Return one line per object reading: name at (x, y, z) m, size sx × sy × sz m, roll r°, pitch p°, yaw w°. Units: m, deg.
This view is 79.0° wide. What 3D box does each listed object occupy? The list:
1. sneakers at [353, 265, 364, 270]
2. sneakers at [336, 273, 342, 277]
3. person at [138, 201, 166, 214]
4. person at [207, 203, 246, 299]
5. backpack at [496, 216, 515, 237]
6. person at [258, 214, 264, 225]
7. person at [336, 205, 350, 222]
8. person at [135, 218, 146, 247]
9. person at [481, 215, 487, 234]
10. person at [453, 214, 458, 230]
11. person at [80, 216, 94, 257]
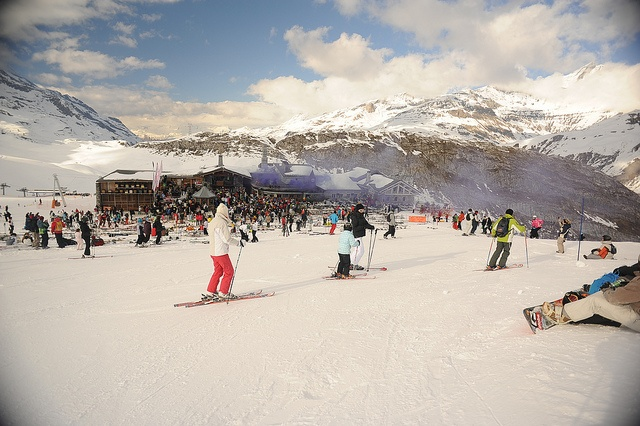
sneakers at (1.622, 2.272, 16.206) m, size 0.427 × 0.183 × 0.144 m, roll -2°, pitch 4°, yaw -10°
sneakers at (0.735, 2.390, 14.970) m, size 0.161 × 0.073 × 0.124 m, roll 16°, pitch 2°, yaw -19°
person at (-20.800, -0.626, 48.317) m, size 3.815 × 1.520 × 1.168 m, roll 0°, pitch -5°, yaw 8°
person at (-3.054, 1.182, 12.139) m, size 1.045 × 2.977 × 0.504 m, roll 0°, pitch 1°, yaw 17°
backpack at (7.170, 0.572, 15.261) m, size 0.293 × 0.791 × 0.496 m, roll -1°, pitch 1°, yaw -42°
person at (-5.983, 0.685, 39.417) m, size 0.573 × 0.947 × 1.664 m, roll 0°, pitch 1°, yaw -7°
person at (2.386, 0.058, 41.576) m, size 0.770 × 0.891 × 2.227 m, roll 0°, pitch 7°, yaw 21°
person at (-11.578, 1.289, 25.114) m, size 0.475 × 1.574 × 0.820 m, roll 0°, pitch 1°, yaw -24°
person at (13.659, 1.015, 32.294) m, size 0.356 × 1.364 × 1.027 m, roll 1°, pitch 1°, yaw 24°
person at (12.824, 0.878, 36.804) m, size 0.354 × 1.366 × 2.231 m, roll 0°, pitch 1°, yaw 20°
person at (-12.185, 1.209, 20.288) m, size 0.416 × 2.096 × 1.190 m, roll 0°, pitch 1°, yaw -32°
